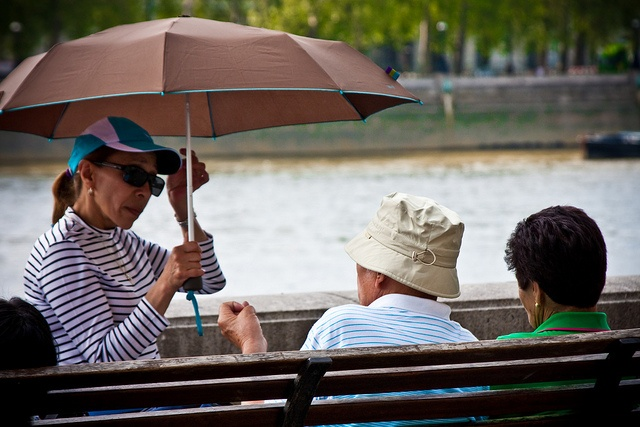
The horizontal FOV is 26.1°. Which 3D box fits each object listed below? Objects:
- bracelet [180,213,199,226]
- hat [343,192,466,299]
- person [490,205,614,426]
[{"bbox_3d":[-1.010,0.053,10.726,0.131,0.042,0.096,-19,-3,16],"label":"bracelet"},{"bbox_3d":[0.690,0.168,10.102,0.818,0.433,0.716,25,12,6],"label":"hat"},{"bbox_3d":[1.767,0.622,10.245,0.906,1.303,0.975,-11,-13,37],"label":"person"}]
